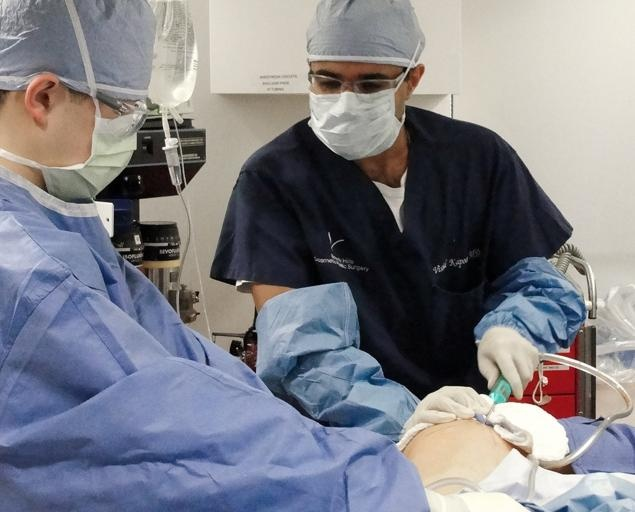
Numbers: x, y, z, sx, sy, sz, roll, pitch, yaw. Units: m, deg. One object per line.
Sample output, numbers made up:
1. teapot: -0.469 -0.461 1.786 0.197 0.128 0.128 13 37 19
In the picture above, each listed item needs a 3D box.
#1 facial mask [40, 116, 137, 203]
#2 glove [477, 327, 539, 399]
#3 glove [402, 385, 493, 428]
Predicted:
1. facial mask: -0.571 -0.241 2.354 0.198 0.178 0.189 -15 45 -9
2. glove: 0.544 0.291 2.640 0.155 0.196 0.071 -22 -8 -8
3. glove: 0.367 0.405 2.517 0.175 0.067 0.112 -14 18 -19
